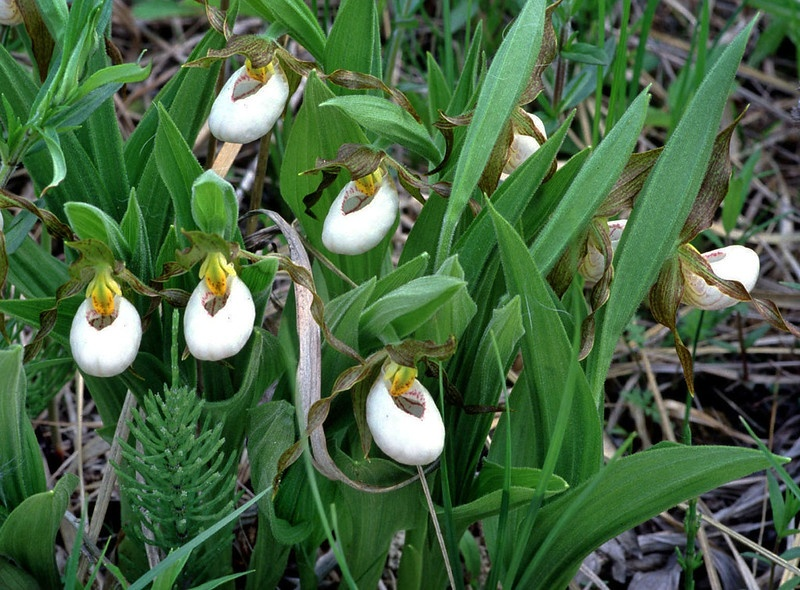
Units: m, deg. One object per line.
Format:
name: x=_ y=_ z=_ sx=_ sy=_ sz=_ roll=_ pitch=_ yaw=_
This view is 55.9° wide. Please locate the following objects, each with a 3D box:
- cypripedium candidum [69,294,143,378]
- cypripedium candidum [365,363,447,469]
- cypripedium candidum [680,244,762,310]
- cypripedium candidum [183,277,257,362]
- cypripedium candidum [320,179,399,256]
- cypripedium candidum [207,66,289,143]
cypripedium candidum: x=-0.947 y=0.125 z=2.408 sx=0.207 sy=0.147 sz=0.313 roll=-2 pitch=65 yaw=-14
cypripedium candidum: x=0.006 y=0.403 z=2.452 sx=0.216 sy=0.183 sz=0.347 roll=-20 pitch=63 yaw=-19
cypripedium candidum: x=1.149 y=-0.077 z=2.689 sx=0.259 sy=0.180 sz=0.223 roll=-12 pitch=48 yaw=-9
cypripedium candidum: x=-0.575 y=0.063 z=2.402 sx=0.204 sy=0.127 sz=0.295 roll=9 pitch=84 yaw=9
cypripedium candidum: x=-0.127 y=-0.259 z=2.708 sx=0.288 sy=0.320 sz=0.204 roll=-21 pitch=26 yaw=-40
cypripedium candidum: x=-0.558 y=-0.716 z=2.799 sx=0.231 sy=0.133 sz=0.398 roll=24 pitch=59 yaw=7
